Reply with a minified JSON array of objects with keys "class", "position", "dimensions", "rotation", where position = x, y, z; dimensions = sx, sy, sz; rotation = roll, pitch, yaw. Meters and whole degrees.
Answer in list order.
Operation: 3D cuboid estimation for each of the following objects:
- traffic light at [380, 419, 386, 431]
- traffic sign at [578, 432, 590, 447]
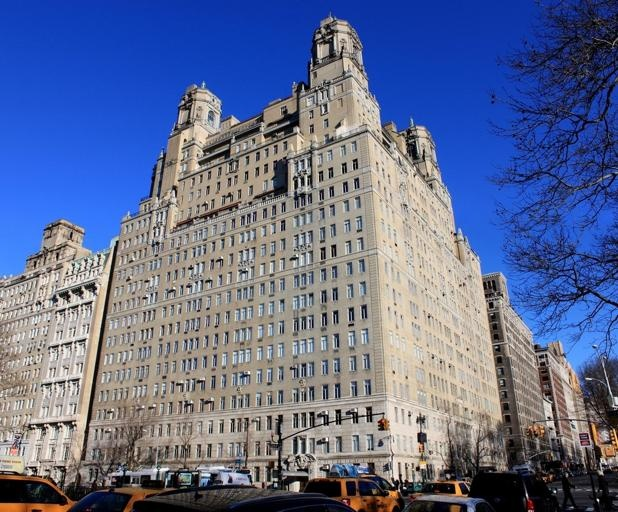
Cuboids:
[{"class":"traffic light","position":[5.847,13.313,41.618],"dimensions":[0.479,0.770,0.644],"rotation":[-6,-28,9]},{"class":"traffic sign","position":[17.181,11.338,32.646],"dimensions":[0.527,0.770,1.372],"rotation":[-14,-29,22]}]
